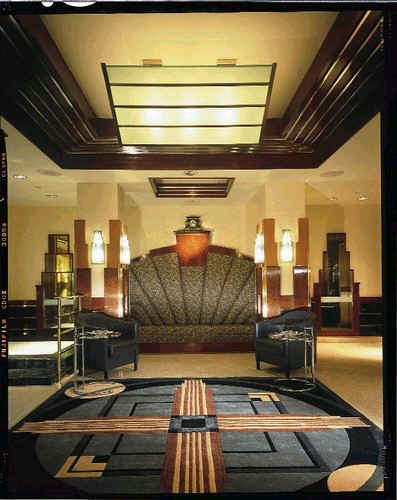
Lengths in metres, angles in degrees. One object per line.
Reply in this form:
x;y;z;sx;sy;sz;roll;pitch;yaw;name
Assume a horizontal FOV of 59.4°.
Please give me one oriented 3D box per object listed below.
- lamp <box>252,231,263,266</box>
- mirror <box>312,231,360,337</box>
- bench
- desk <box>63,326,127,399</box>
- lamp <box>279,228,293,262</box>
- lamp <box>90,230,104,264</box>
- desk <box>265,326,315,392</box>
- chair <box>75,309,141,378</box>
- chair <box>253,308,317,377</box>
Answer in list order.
0.965;-0.068;5.651;0.181;0.512;0.121;20;28;40;lamp
2.834;0.712;7.145;0.922;2.170;0.235;0;8;9;mirror
-0.089;0.816;6.146;2.351;2.074;0.861;0;-9;-5;bench
-1.131;1.183;3.912;0.612;0.710;0.599;-13;-13;41;desk
1.315;-0.081;5.225;0.215;0.495;0.091;-1;-6;6;lamp
-1.492;-0.062;5.155;0.193;0.496;0.084;2;-6;-16;lamp
1.136;1.248;4.195;0.632;0.934;0.574;1;-5;3;desk
-1.205;1.190;4.506;0.625;0.768;0.672;-6;-8;29;chair
1.147;1.166;4.531;0.649;0.776;0.686;6;-9;-29;chair
